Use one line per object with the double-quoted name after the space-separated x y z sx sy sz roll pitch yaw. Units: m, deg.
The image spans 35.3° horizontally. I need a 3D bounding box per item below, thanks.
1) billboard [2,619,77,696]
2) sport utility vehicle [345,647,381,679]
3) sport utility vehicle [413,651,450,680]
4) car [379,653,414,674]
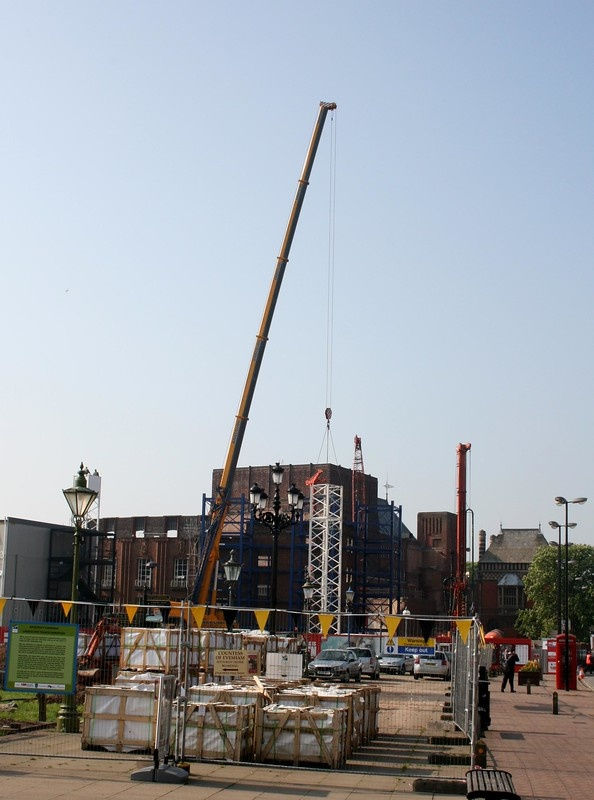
-3.642 3.682 13.296 1.096 0.963 0.510 1 -13 3 "billboard"
2.938 11.374 39.912 1.295 1.117 2.732 -1 -6 6 "sport utility vehicle"
6.102 12.086 42.328 1.522 1.163 1.494 0 -13 5 "sport utility vehicle"
5.008 13.320 47.339 1.417 0.863 2.628 -1 -29 6 "car"
